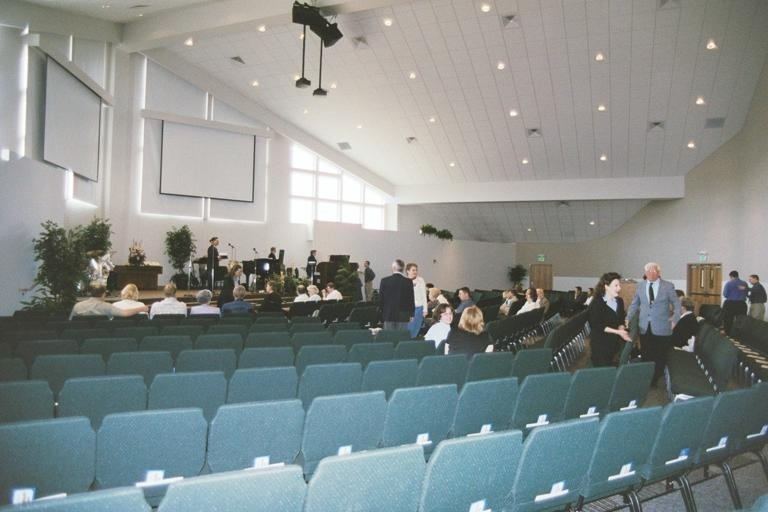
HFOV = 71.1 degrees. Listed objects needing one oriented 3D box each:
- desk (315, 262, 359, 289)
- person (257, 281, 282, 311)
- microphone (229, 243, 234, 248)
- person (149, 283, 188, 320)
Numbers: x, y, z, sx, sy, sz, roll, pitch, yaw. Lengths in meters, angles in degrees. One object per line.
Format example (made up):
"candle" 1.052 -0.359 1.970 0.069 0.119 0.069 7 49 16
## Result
"desk" -1.414 0.565 16.908 1.346 0.997 0.747 -1 2 -7
"person" -2.692 0.947 12.789 0.706 0.866 0.470 -1 5 -33
"microphone" -5.316 -0.357 18.788 0.080 0.135 0.208 44 2 21
"person" -3.599 0.839 9.077 0.658 0.735 0.377 0 5 -23
